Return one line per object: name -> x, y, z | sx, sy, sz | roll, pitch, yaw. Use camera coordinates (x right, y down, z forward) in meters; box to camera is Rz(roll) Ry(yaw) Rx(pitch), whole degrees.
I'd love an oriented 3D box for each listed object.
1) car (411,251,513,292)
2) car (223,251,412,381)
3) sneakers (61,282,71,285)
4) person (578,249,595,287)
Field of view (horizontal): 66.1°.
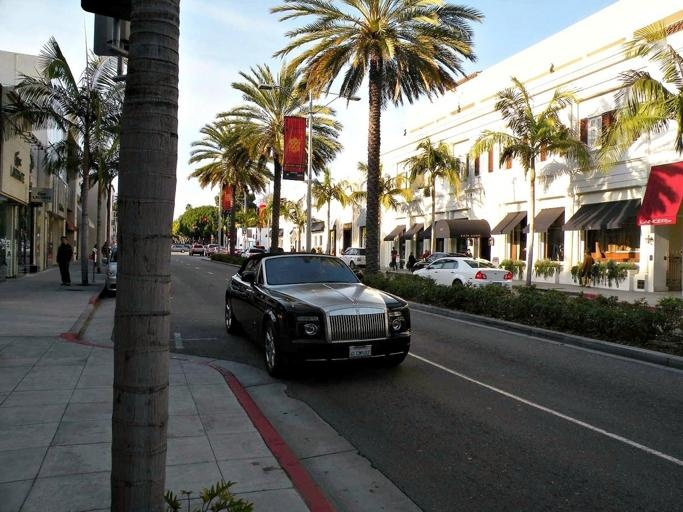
car -> 5.225, 0.683, 22.338 | 1.544, 1.136, 3.859 | -2, 5, -40
car -> -0.632, 1.020, 9.990 | 2.100, 2.025, 3.878 | -1, 4, -31
sneakers -> -11.946, 1.232, 22.671 | 0.403, 0.206, 0.144 | -3, -2, 14
person -> 12.615, 0.675, 27.054 | 0.643, 1.795, 1.312 | 3, 4, 25
